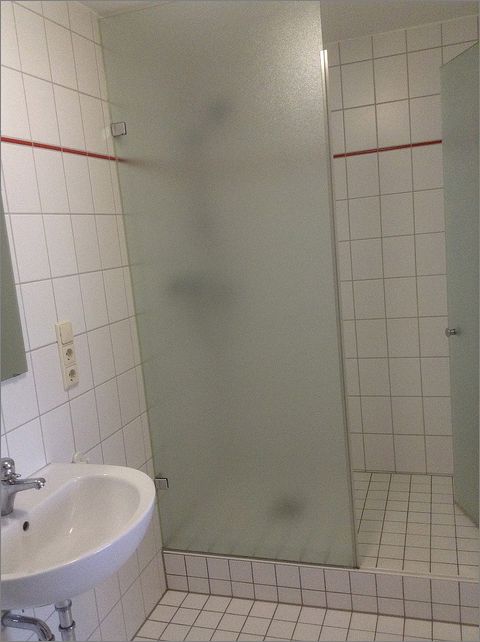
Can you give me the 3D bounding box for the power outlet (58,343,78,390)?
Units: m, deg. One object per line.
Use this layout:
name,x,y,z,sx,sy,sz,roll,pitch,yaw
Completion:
power outlet,-0.502,0.131,1.522,0.018,0.138,0.072,-3,9,10
